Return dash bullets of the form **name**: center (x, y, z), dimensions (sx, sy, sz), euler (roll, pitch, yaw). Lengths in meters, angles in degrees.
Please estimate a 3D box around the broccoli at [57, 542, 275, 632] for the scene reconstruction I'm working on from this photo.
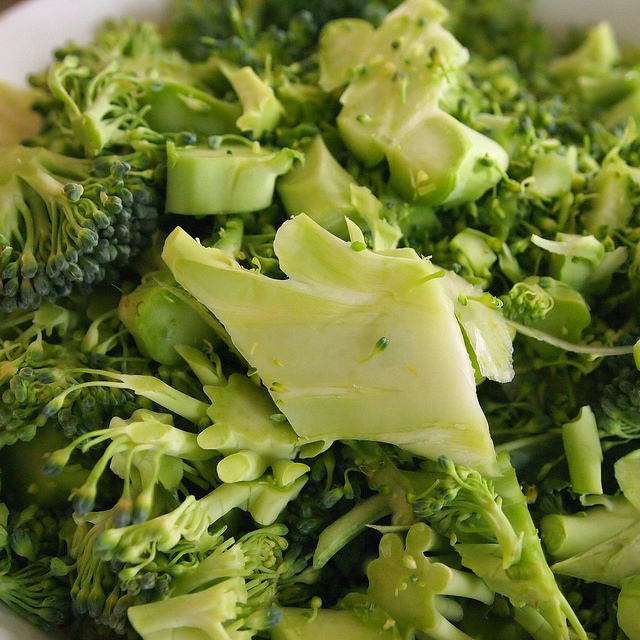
- **broccoli**: center (-0.183, 0.316, 0.847), dimensions (0.209, 0.106, 0.085), euler (-7, -5, -10)

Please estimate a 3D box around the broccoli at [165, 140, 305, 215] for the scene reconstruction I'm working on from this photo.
- **broccoli**: center (-0.120, -0.207, 1.062), dimensions (0.245, 0.087, 0.149), euler (-1, 9, 0)

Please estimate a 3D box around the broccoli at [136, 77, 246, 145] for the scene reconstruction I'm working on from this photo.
- **broccoli**: center (-0.198, -0.335, 1.136), dimensions (0.121, 0.046, 0.190), euler (25, 49, 7)

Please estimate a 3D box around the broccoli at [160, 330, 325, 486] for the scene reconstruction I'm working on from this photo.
- **broccoli**: center (-0.101, 0.139, 0.939), dimensions (0.238, 0.074, 0.222), euler (1, 32, -18)

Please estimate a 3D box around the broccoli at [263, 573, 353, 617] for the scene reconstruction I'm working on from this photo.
- **broccoli**: center (-0.001, 0.358, 0.958), dimensions (0.139, 0.031, 0.030), euler (-20, -10, 27)

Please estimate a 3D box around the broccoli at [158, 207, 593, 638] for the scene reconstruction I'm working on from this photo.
- **broccoli**: center (0.136, 0.150, 0.994), dimensions (0.701, 0.264, 0.401), euler (22, 62, 13)

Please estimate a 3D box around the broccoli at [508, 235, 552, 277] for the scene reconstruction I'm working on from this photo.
- **broccoli**: center (0.324, -0.097, 1.105), dimensions (0.083, 0.066, 0.020), euler (19, 62, -17)

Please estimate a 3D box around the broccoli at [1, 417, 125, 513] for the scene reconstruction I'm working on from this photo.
- **broccoli**: center (-0.366, 0.207, 1.043), dimensions (0.186, 0.147, 0.045), euler (-9, 11, 4)

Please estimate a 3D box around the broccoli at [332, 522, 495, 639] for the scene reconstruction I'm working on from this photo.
- **broccoli**: center (0.112, 0.308, 0.914), dimensions (0.193, 0.157, 0.048), euler (-8, -7, 15)

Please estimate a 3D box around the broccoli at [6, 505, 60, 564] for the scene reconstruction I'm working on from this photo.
- **broccoli**: center (-0.381, 0.281, 0.967), dimensions (0.062, 0.030, 0.069), euler (8, 48, -55)

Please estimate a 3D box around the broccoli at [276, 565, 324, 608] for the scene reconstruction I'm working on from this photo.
- **broccoli**: center (-0.027, 0.346, 0.951), dimensions (0.072, 0.058, 0.025), euler (6, 15, 0)

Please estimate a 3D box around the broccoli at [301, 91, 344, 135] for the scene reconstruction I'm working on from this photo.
- **broccoli**: center (0.003, -0.324, 1.137), dimensions (0.081, 0.078, 0.021), euler (-9, 64, 16)

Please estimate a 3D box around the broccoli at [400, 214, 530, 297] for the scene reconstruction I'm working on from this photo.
- **broccoli**: center (0.241, -0.084, 1.091), dimensions (0.179, 0.078, 0.103), euler (30, 3, -17)

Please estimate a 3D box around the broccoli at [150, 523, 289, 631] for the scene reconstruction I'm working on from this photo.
- **broccoli**: center (-0.145, 0.315, 0.895), dimensions (0.221, 0.073, 0.104), euler (-16, 36, 9)

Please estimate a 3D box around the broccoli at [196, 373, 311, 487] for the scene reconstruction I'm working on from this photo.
- **broccoli**: center (-0.096, 0.128, 0.947), dimensions (0.191, 0.050, 0.186), euler (17, 30, -21)

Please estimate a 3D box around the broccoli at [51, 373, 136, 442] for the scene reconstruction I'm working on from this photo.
- **broccoli**: center (-0.294, 0.109, 0.991), dimensions (0.083, 0.110, 0.054), euler (45, 1, 7)

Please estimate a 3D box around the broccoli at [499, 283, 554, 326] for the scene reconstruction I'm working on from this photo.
- **broccoli**: center (0.282, -0.024, 0.988), dimensions (0.077, 0.036, 0.050), euler (14, 70, 3)

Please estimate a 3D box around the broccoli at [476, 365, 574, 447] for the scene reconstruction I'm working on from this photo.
- **broccoli**: center (0.296, 0.123, 1.040), dimensions (0.140, 0.048, 0.117), euler (-7, 51, 7)

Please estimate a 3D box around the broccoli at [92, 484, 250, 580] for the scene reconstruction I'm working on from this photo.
- **broccoli**: center (-0.172, 0.238, 0.882), dimensions (0.074, 0.054, 0.201), euler (8, 20, 44)

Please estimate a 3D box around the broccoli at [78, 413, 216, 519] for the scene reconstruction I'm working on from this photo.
- **broccoli**: center (-0.203, 0.162, 0.909), dimensions (0.174, 0.141, 0.075), euler (-12, 31, -30)

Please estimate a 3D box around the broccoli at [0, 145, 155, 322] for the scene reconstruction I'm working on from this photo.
- **broccoli**: center (-0.351, -0.147, 1.035), dimensions (0.222, 0.217, 0.219), euler (4, 29, -12)

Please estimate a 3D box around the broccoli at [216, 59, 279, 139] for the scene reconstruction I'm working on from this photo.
- **broccoli**: center (-0.101, -0.328, 1.091), dimensions (0.082, 0.091, 0.116), euler (6, 28, -9)
